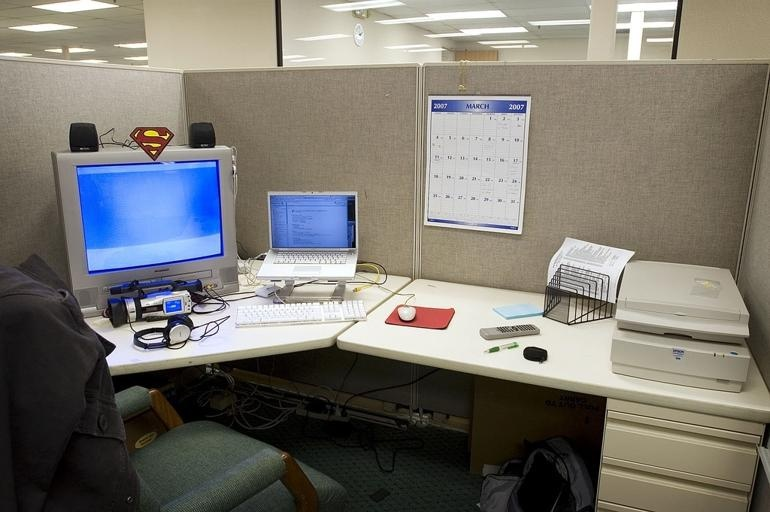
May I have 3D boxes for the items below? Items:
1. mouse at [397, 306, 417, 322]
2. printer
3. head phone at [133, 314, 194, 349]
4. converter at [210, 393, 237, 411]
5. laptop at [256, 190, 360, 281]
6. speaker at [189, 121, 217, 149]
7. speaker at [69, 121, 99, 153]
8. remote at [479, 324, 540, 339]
[{"bbox_3d":[0.088,0.229,2.221,0.064,0.059,0.063,-1,5,-25],"label":"mouse"},{"bbox_3d":[1.055,0.237,1.965,0.423,0.315,0.426,7,20,22],"label":"printer"},{"bbox_3d":[-0.854,0.274,2.106,0.221,0.087,0.236,14,7,44],"label":"head phone"},{"bbox_3d":[-0.847,0.747,2.856,0.091,0.053,0.086,4,4,11],"label":"converter"},{"bbox_3d":[-0.313,-0.114,2.532,0.606,0.401,0.370,1,17,3],"label":"laptop"},{"bbox_3d":[-0.819,-0.542,2.483,0.124,0.114,0.120,-4,22,-16],"label":"speaker"},{"bbox_3d":[-1.232,-0.490,2.248,0.105,0.110,0.117,-5,19,-11],"label":"speaker"},{"bbox_3d":[0.487,0.272,2.106,0.215,0.035,0.080,-3,15,-6],"label":"remote"}]
